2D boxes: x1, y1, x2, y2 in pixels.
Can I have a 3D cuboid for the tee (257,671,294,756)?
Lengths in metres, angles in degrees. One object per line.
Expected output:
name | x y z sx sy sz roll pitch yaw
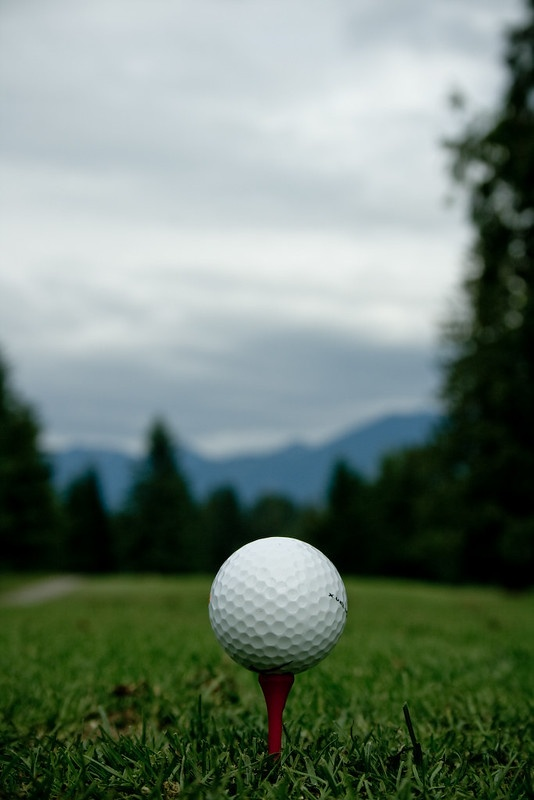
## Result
tee | 0.031 1.644 5.250 0.171 0.386 0.188 2 0 0
